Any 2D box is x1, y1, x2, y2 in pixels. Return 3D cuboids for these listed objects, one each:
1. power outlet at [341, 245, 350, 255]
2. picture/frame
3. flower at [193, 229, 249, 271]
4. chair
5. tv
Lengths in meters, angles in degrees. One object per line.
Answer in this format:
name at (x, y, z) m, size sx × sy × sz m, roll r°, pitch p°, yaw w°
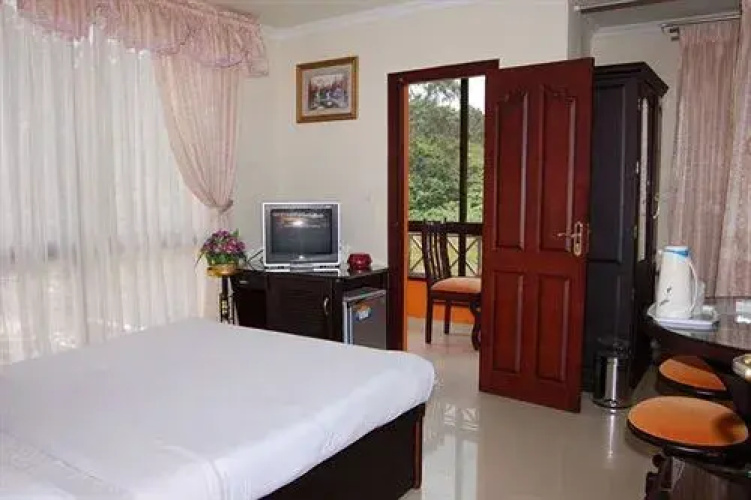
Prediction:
power outlet at (-0.315, -0.001, 5.467) m, size 0.098 × 0.117 × 0.098 m, roll 4°, pitch -6°, yaw 7°
picture/frame at (-0.478, -1.699, 5.401) m, size 0.739 × 0.632 × 0.059 m, roll 2°, pitch 6°, yaw 26°
flower at (-1.410, -0.030, 4.744) m, size 0.397 × 0.300 × 0.421 m, roll 17°, pitch 22°, yaw 42°
chair at (0.934, 0.354, 5.831) m, size 0.713 × 1.344 × 0.594 m, roll 6°, pitch 14°, yaw 31°
tv at (-0.607, -0.111, 5.023) m, size 1.000 × 0.886 × 0.544 m, roll 0°, pitch -4°, yaw -3°
